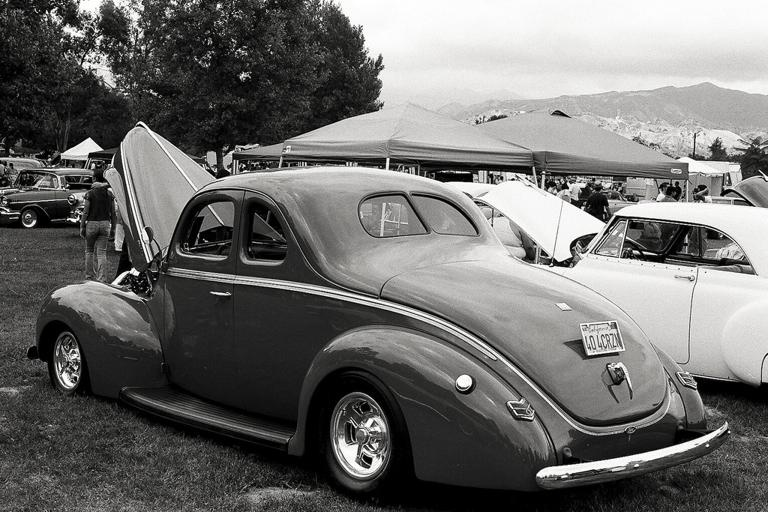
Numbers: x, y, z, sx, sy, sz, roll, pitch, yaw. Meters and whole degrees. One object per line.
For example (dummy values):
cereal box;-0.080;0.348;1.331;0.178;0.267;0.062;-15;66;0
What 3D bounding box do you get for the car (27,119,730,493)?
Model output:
car;-0.097;0.469;5.499;5.849;2.509;1.994;7;10;31
